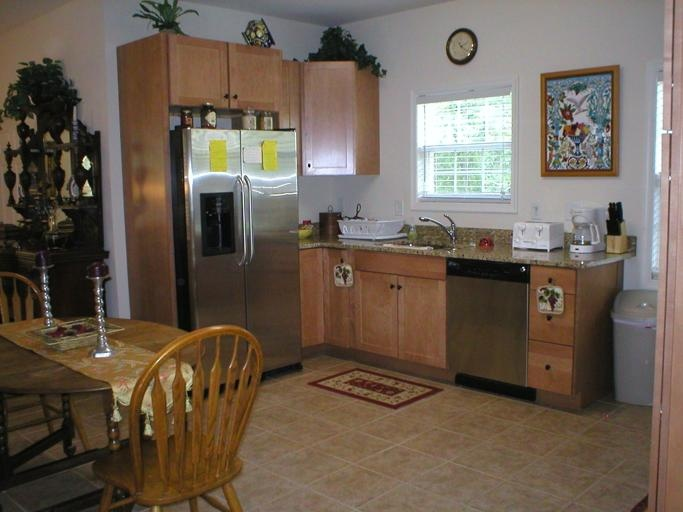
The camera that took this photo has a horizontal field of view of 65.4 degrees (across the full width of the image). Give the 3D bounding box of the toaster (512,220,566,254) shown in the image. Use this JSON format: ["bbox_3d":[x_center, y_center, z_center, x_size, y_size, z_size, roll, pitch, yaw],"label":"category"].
[{"bbox_3d":[1.608,-0.164,4.291,0.419,0.222,0.230,0,9,6],"label":"toaster"}]

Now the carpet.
[{"bbox_3d":[0.282,1.055,4.356,0.959,0.020,0.605,6,12,36],"label":"carpet"}]

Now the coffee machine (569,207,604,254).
[{"bbox_3d":[1.889,-0.200,4.075,0.246,0.324,0.475,3,10,24],"label":"coffee machine"}]

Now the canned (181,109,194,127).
[{"bbox_3d":[-1.215,-1.084,4.166,0.084,0.142,0.200,-4,10,-20],"label":"canned"}]

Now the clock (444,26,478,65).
[{"bbox_3d":[1.074,-1.887,4.819,0.296,0.304,0.023,17,26,31],"label":"clock"}]

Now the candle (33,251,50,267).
[{"bbox_3d":[-1.591,0.011,2.828,0.071,0.076,0.071,-3,5,-21],"label":"candle"}]

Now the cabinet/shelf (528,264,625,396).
[{"bbox_3d":[1.764,0.518,3.949,0.727,0.949,0.319,-5,10,-23],"label":"cabinet/shelf"}]

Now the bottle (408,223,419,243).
[{"bbox_3d":[0.690,-0.223,5.169,0.087,0.157,0.281,1,10,9],"label":"bottle"}]

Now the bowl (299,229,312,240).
[{"bbox_3d":[-0.360,-0.218,5.272,0.100,0.057,0.102,-1,5,0],"label":"bowl"}]

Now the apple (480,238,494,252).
[{"bbox_3d":[1.248,-0.105,4.584,0.112,0.071,0.114,0,6,13],"label":"apple"}]

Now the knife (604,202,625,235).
[{"bbox_3d":[2.100,-0.286,4.069,0.125,0.246,0.115,-9,13,-41],"label":"knife"}]

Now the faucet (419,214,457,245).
[{"bbox_3d":[0.895,-0.255,4.894,0.341,0.259,0.658,0,9,8],"label":"faucet"}]

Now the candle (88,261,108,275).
[{"bbox_3d":[-1.122,0.067,2.456,0.070,0.055,0.071,3,14,2],"label":"candle"}]
